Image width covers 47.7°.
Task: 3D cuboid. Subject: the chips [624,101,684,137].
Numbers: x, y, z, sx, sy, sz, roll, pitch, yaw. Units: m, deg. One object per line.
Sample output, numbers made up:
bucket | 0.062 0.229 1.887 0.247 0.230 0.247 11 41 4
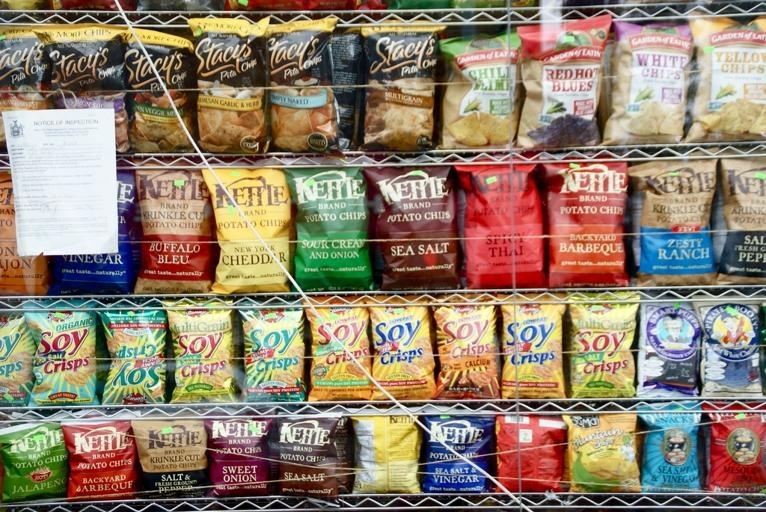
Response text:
chips | 0.919 -0.460 2.909 0.154 0.120 0.053 3 17 4
